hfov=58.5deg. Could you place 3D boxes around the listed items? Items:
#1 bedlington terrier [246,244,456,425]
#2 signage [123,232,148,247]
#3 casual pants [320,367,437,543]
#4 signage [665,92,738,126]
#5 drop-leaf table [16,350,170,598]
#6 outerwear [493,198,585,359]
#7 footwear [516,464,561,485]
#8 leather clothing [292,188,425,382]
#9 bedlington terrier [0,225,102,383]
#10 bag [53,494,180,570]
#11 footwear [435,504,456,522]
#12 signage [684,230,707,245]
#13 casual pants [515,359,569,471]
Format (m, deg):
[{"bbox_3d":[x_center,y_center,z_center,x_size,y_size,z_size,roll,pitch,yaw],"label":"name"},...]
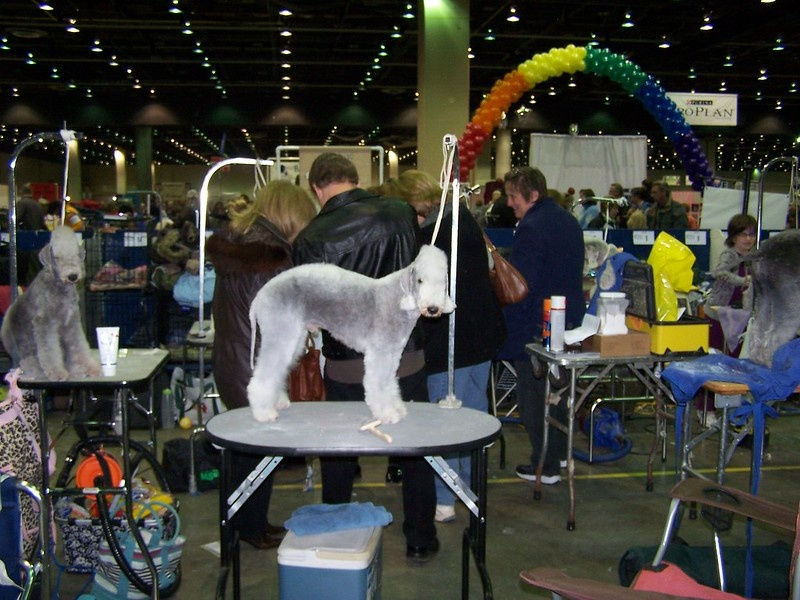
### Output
[{"bbox_3d":[-0.269,0.188,3.951,1.087,0.998,0.403,2,4,-3],"label":"bedlington terrier"},{"bbox_3d":[-2.629,-0.608,7.110,0.239,0.162,0.131,2,21,-9],"label":"signage"},{"bbox_3d":[-0.006,0.982,4.940,0.906,1.204,1.005,1,17,6],"label":"casual pants"},{"bbox_3d":[4.157,-2.616,9.672,0.559,0.496,0.971,0,1,41],"label":"signage"},{"bbox_3d":[-1.907,1.124,4.568,0.831,1.536,0.802,-1,1,-19],"label":"drop-leaf table"},{"bbox_3d":[1.176,-0.227,5.933,0.715,1.259,0.919,3,16,36],"label":"outerwear"},{"bbox_3d":[1.147,1.440,5.952,0.350,0.170,0.142,8,5,29],"label":"footwear"},{"bbox_3d":[-0.225,-0.074,4.104,1.002,1.286,0.712,-3,9,-8],"label":"leather clothing"},{"bbox_3d":[-2.120,0.013,4.303,0.603,0.920,0.275,0,1,3],"label":"bedlington terrier"},{"bbox_3d":[-1.908,1.619,4.858,0.780,0.407,0.638,-11,-18,16],"label":"bag"},{"bbox_3d":[0.336,1.583,5.313,0.163,0.117,0.096,5,-6,-34],"label":"footwear"},{"bbox_3d":[3.882,-0.821,9.347,0.285,0.203,0.159,0,1,0],"label":"signage"},{"bbox_3d":[1.308,0.984,5.879,0.342,0.985,0.278,6,17,-25],"label":"casual pants"}]
